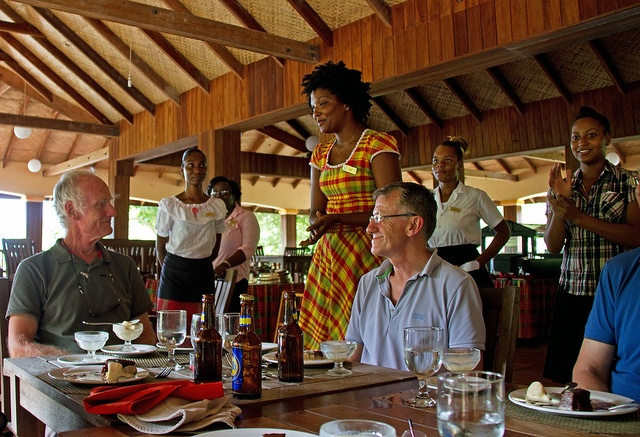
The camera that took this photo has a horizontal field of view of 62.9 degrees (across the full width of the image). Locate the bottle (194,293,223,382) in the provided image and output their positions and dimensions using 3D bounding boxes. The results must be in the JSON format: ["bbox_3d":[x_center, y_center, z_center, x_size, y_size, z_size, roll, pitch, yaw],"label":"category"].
[{"bbox_3d":[-0.345,0.381,1.664,0.083,0.279,0.201,3,-9,-25],"label":"bottle"}]

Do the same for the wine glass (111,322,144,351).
[{"bbox_3d":[-0.802,0.500,2.239,0.134,0.134,0.129,0,-15,-4],"label":"wine glass"}]

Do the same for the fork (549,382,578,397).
[{"bbox_3d":[0.737,0.510,1.572,0.060,0.014,0.037,-23,-2,14],"label":"fork"}]

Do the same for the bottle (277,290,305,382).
[{"bbox_3d":[-0.103,0.407,1.810,0.091,0.302,0.262,0,-8,-2],"label":"bottle"}]

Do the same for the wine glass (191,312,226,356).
[{"bbox_3d":[-0.416,0.416,1.916,0.130,0.126,0.131,-1,3,0],"label":"wine glass"}]

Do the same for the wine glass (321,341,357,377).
[{"bbox_3d":[0.067,0.508,1.933,0.155,0.123,0.157,-3,-5,12],"label":"wine glass"}]

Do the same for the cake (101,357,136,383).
[{"bbox_3d":[-0.672,0.504,1.737,0.081,0.036,0.080,3,-1,-27],"label":"cake"}]

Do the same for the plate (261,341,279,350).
[{"bbox_3d":[-0.221,0.554,2.274,0.063,0.009,0.062,1,0,-36],"label":"plate"}]

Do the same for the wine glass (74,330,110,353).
[{"bbox_3d":[-0.913,0.480,2.102,0.106,0.085,0.106,1,-10,-2],"label":"wine glass"}]

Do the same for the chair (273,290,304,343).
[{"bbox_3d":[-0.246,0.911,5.021,0.254,0.367,0.247,11,-6,-35],"label":"chair"}]

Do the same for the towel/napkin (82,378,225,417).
[{"bbox_3d":[-0.490,0.499,1.472,0.178,0.044,0.173,-4,-8,23],"label":"towel/napkin"}]

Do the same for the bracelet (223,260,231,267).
[{"bbox_3d":[-0.749,0.359,4.211,0.013,0.045,0.045,-35,-3,-9],"label":"bracelet"}]

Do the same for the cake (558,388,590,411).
[{"bbox_3d":[0.737,0.522,1.507,0.057,0.049,0.079,-3,-9,40],"label":"cake"}]
